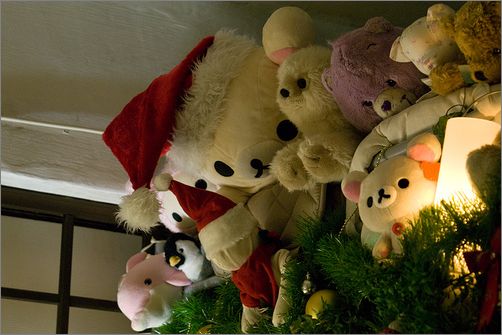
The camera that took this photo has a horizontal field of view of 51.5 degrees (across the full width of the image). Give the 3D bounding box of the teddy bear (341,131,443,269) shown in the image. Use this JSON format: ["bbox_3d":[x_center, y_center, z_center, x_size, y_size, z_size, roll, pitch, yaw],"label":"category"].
[{"bbox_3d":[0.315,0.074,1.137,0.222,0.223,0.123,-29,-35,33],"label":"teddy bear"}]

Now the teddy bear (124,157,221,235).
[{"bbox_3d":[-0.253,0.103,1.785,0.229,0.235,0.301,15,9,-32],"label":"teddy bear"}]

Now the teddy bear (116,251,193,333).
[{"bbox_3d":[-0.335,0.385,1.698,0.203,0.263,0.186,26,15,-35],"label":"teddy bear"}]

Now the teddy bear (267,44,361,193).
[{"bbox_3d":[0.197,-0.151,1.476,0.283,0.393,0.288,-10,3,-25],"label":"teddy bear"}]

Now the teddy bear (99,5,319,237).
[{"bbox_3d":[-0.128,-0.133,1.577,0.437,0.442,0.585,-36,1,-41],"label":"teddy bear"}]

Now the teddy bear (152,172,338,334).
[{"bbox_3d":[-0.070,0.239,1.452,0.408,0.412,0.179,3,-5,19],"label":"teddy bear"}]
